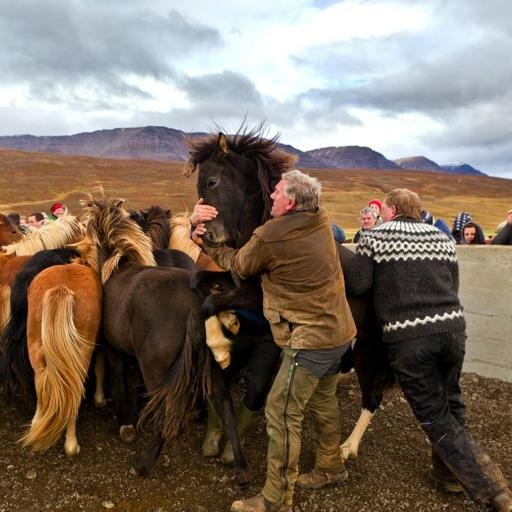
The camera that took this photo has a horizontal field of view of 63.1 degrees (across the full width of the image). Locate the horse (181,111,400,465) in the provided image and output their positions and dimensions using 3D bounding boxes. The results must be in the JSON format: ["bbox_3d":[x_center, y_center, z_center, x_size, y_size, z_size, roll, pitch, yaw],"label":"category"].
[{"bbox_3d":[0.504,0.328,3.928,0.715,2.086,3.351,-19,-19,27],"label":"horse"}]

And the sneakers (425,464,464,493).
[{"bbox_3d":[1.344,1.601,3.023,0.081,0.143,0.266,-24,26,-20],"label":"sneakers"}]

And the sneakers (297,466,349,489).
[{"bbox_3d":[0.463,1.638,3.141,0.404,0.179,0.136,0,1,-6],"label":"sneakers"}]
